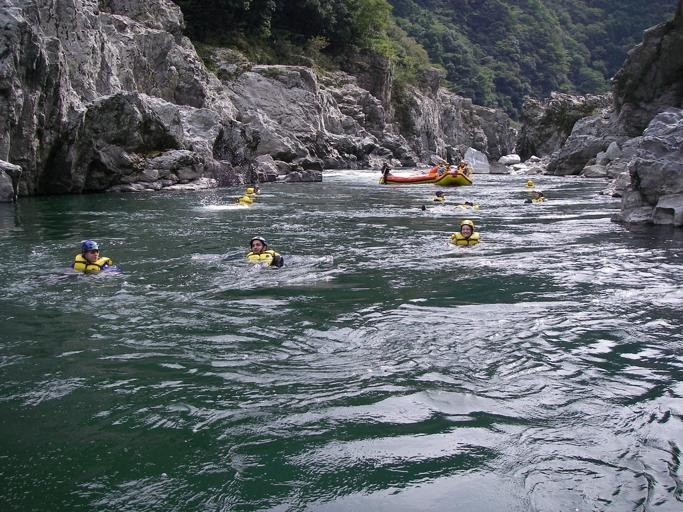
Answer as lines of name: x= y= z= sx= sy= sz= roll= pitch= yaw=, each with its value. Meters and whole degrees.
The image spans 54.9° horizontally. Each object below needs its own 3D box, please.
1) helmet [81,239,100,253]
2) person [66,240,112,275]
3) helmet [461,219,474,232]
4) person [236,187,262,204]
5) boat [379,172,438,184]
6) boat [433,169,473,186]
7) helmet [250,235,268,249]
helmet: x=-4.544 y=-0.164 z=11.920 sx=0.388 sy=0.200 sz=0.229 roll=13 pitch=18 yaw=2
person: x=-4.231 y=0.084 z=11.426 sx=0.825 sy=0.525 sz=0.897 roll=-9 pitch=16 yaw=-15
helmet: x=2.786 y=-0.705 z=14.620 sx=0.289 sy=0.198 sz=0.301 roll=3 pitch=-16 yaw=15
person: x=-3.539 y=-2.290 z=25.317 sx=0.615 sy=0.283 sz=1.800 roll=2 pitch=16 yaw=6
boat: x=3.885 y=-4.540 z=39.464 sx=2.909 sy=0.423 sz=1.280 roll=-2 pitch=7 yaw=-10
boat: x=6.336 y=-4.449 z=38.074 sx=1.990 sy=1.029 sz=1.606 roll=1 pitch=6 yaw=28
helmet: x=-1.617 y=-0.292 z=12.350 sx=0.357 sy=0.292 sz=0.329 roll=-2 pitch=-9 yaw=3
